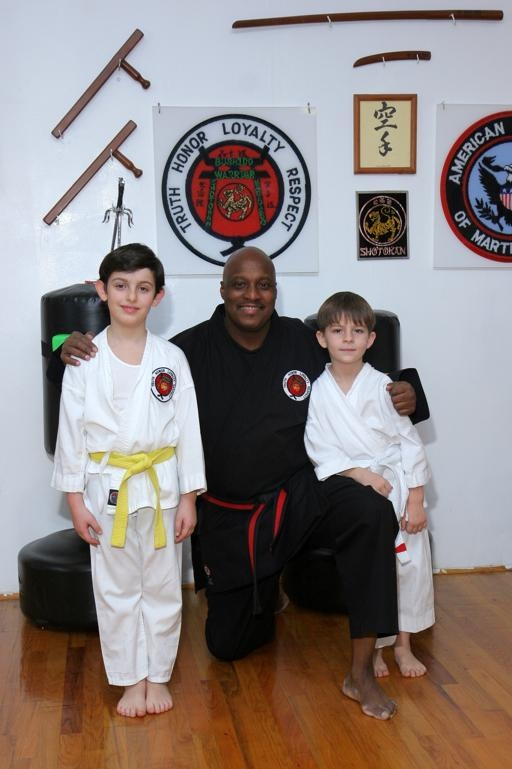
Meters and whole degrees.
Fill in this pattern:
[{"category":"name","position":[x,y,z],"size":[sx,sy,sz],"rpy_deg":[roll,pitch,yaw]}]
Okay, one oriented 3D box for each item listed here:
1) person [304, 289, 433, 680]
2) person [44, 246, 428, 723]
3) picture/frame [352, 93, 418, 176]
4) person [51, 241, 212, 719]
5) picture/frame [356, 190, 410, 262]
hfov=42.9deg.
[{"category":"person","position":[0.306,0.265,1.832],"size":[0.312,1.053,0.252],"rpy_deg":[-1,1,37]},{"category":"person","position":[0.018,0.241,1.894],"size":[0.951,1.193,0.632],"rpy_deg":[5,10,31]},{"category":"picture/frame","position":[0.479,-0.956,2.459],"size":[0.319,0.342,0.025],"rpy_deg":[-1,6,-8]},{"category":"person","position":[-0.315,0.222,1.652],"size":[0.374,1.154,0.199],"rpy_deg":[-1,1,-17]},{"category":"picture/frame","position":[0.477,-0.621,2.504],"size":[0.288,0.340,0.024],"rpy_deg":[-1,2,-10]}]
